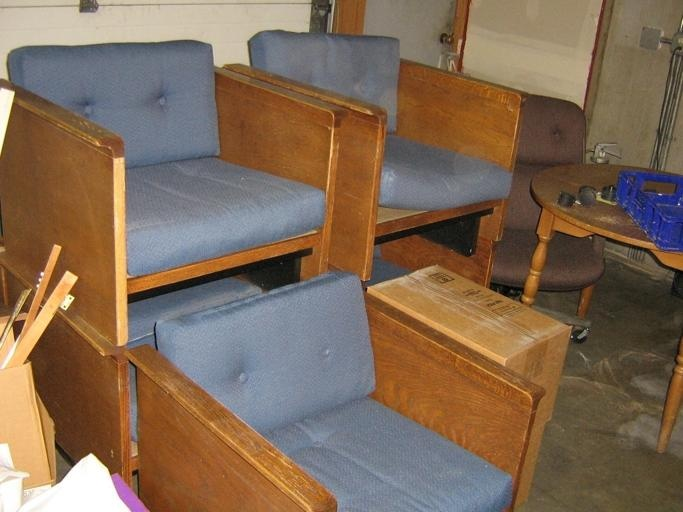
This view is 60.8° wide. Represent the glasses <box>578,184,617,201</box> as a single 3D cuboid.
[{"bbox_3d":[1.097,-0.251,2.487,0.140,0.061,0.091,1,27,6],"label":"glasses"}]
